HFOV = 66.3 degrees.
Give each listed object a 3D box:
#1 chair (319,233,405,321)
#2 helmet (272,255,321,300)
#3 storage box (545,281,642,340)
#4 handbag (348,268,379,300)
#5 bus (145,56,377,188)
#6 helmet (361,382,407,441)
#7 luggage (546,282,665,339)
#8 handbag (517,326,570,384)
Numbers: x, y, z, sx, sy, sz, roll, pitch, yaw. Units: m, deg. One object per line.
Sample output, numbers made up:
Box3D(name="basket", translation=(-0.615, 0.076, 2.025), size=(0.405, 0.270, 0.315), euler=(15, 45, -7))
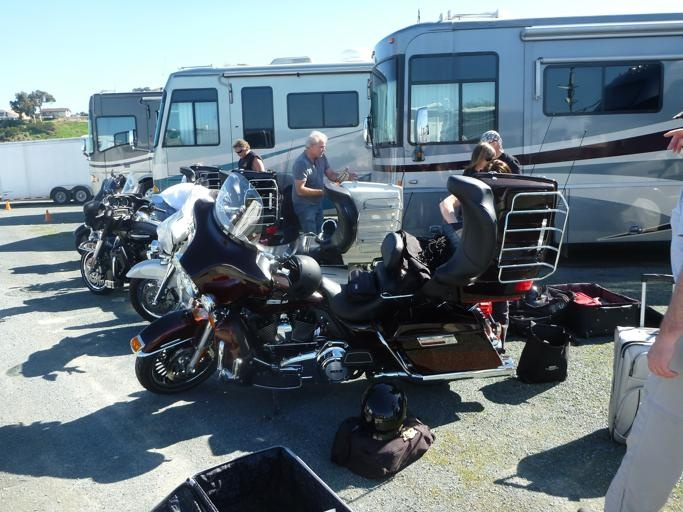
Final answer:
Box3D(name="chair", translation=(0.245, 0.045, 4.695), size=(0.819, 0.710, 0.904), euler=(-1, 43, 11))
Box3D(name="helmet", translation=(-0.371, 0.172, 4.527), size=(0.388, 0.417, 0.319), euler=(5, -24, -8))
Box3D(name="storage box", translation=(3.041, 0.645, 6.481), size=(0.826, 0.362, 1.002), euler=(-2, 12, -2))
Box3D(name="handbag", translation=(0.191, 0.248, 4.590), size=(0.220, 0.075, 0.322), euler=(-4, 42, -1))
Box3D(name="bus", translation=(-2.046, -3.045, 13.651), size=(6.550, 3.194, 2.533), euler=(-13, 18, -36))
Box3D(name="helmet", translation=(0.334, 1.208, 4.217), size=(0.341, 0.328, 0.449), euler=(10, 19, 18))
Box3D(name="luggage", translation=(3.124, 0.718, 6.514), size=(1.266, 0.465, 0.925), euler=(-9, -1, -2))
Box3D(name="handbag", translation=(2.028, 0.960, 5.355), size=(0.531, 0.561, 0.504), euler=(2, 3, -10))
